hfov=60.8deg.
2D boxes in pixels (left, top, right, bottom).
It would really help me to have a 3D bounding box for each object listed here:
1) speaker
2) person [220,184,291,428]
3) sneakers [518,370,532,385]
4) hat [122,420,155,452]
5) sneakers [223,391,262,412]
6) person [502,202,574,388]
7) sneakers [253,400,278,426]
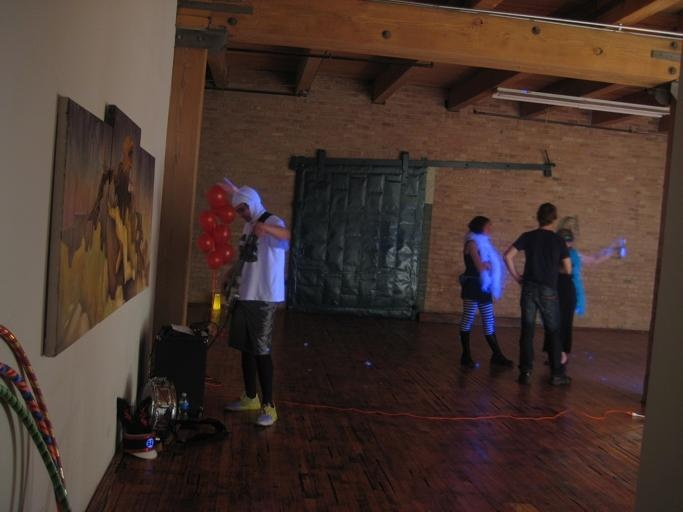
[{"bbox_3d":[-1.198,0.841,4.235,0.377,0.650,0.168,3,6,-17],"label":"speaker"},{"bbox_3d":[-0.692,0.336,4.469,0.501,1.790,0.588,3,6,-13],"label":"person"},{"bbox_3d":[1.858,1.227,5.897,0.080,0.107,0.157,-2,-17,6],"label":"sneakers"},{"bbox_3d":[-1.293,1.138,3.678,0.180,0.161,0.208,4,-7,-31],"label":"hat"},{"bbox_3d":[-0.790,1.167,4.669,0.319,0.155,0.117,3,-6,-10],"label":"sneakers"},{"bbox_3d":[2.045,0.383,5.974,0.772,1.826,0.425,6,6,18],"label":"person"},{"bbox_3d":[-0.562,1.178,4.422,0.131,0.148,0.282,5,5,7],"label":"sneakers"}]
